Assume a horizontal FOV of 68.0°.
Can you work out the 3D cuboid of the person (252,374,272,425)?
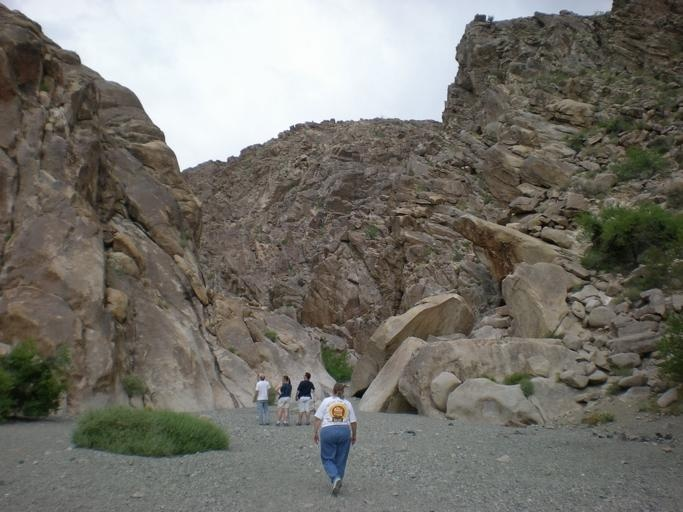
[{"bbox_3d":[-2.733,4.960,17.486,0.502,1.860,0.738,1,6,-8],"label":"person"}]

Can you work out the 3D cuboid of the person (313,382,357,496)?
[{"bbox_3d":[-0.151,3.917,10.801,0.858,2.296,1.017,2,6,-1],"label":"person"}]

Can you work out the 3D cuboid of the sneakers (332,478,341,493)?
[{"bbox_3d":[-0.111,4.783,10.486,0.126,0.363,0.142,3,32,-17],"label":"sneakers"}]

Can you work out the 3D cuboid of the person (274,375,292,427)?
[{"bbox_3d":[-1.999,5.028,17.656,0.419,1.991,1.146,2,6,-5],"label":"person"}]
